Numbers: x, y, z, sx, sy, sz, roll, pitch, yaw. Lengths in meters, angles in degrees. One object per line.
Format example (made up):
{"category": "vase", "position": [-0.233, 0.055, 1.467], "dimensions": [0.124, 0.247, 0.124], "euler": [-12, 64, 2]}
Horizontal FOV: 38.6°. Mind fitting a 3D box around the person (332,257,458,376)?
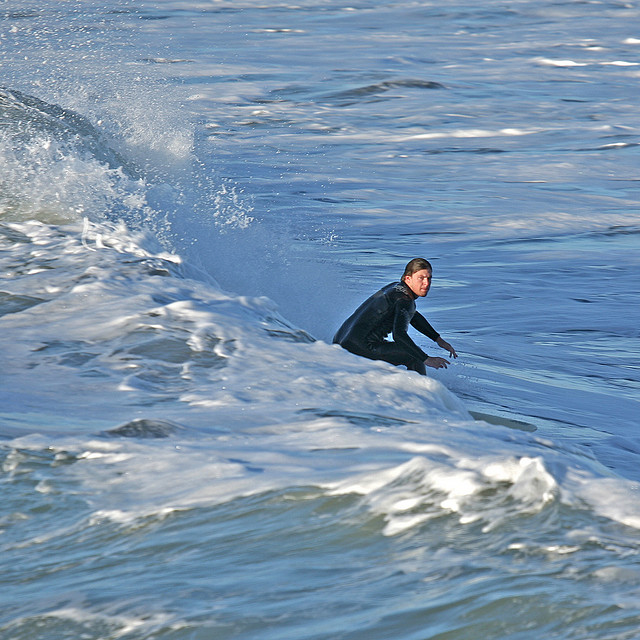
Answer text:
{"category": "person", "position": [0.598, 0.051, 6.864], "dimensions": [0.904, 1.106, 0.874], "euler": [3, 27, -2]}
